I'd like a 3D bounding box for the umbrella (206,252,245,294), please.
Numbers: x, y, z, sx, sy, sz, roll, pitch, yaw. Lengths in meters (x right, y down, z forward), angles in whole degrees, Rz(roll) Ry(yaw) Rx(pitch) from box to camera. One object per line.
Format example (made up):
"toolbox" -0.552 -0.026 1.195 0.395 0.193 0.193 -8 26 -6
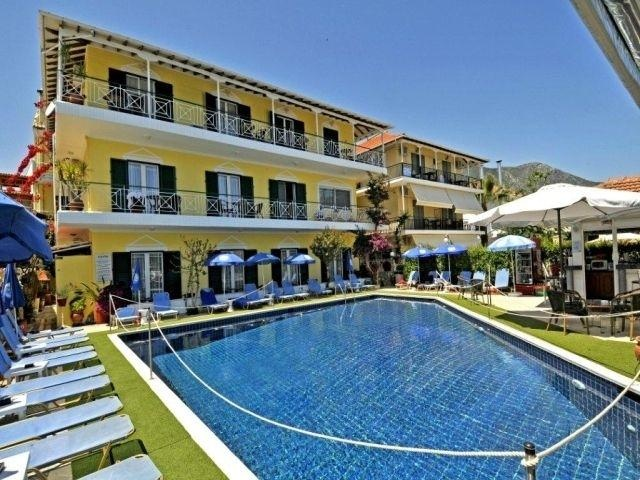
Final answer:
"umbrella" -4.441 1.636 22.417 2.080 2.351 1.921 -1 -1 -28

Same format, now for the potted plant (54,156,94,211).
"potted plant" -10.209 -2.304 19.164 1.162 2.187 1.116 -7 -4 35

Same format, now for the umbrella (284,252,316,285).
"umbrella" -1.107 1.582 24.117 1.593 1.992 1.805 -1 0 12

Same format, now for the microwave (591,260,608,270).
"microwave" 10.752 1.033 17.655 0.327 0.341 0.464 11 -15 -35

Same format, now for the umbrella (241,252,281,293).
"umbrella" -3.142 1.644 23.694 1.927 2.211 1.850 -1 -3 -12

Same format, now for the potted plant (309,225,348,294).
"potted plant" 0.805 1.062 26.264 2.584 3.969 3.014 -1 0 -7

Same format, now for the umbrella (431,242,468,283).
"umbrella" 7.515 1.397 26.854 2.200 3.012 2.161 0 -1 -35

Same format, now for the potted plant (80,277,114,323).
"potted plant" -9.325 2.544 19.224 1.341 1.940 1.470 -13 -15 42

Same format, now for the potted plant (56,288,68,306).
"potted plant" -10.795 2.372 19.308 0.588 0.791 0.533 4 -8 -30
